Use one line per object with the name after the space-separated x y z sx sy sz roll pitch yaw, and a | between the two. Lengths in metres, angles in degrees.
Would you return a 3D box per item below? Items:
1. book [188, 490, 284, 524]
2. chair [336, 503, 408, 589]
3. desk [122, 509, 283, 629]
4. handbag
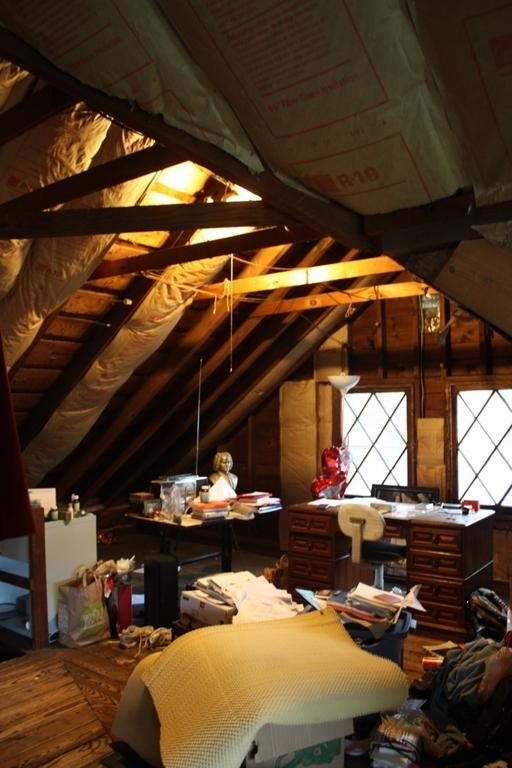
-0.164 0.958 4.782 0.785 0.162 0.480 2 -5 -33 | book
0.746 1.000 3.804 0.349 0.569 0.844 -2 -5 16 | chair
-0.385 1.369 4.565 1.070 0.958 0.690 2 -8 -31 | desk
-1.069 1.400 3.756 0.187 0.450 0.351 -20 -22 37 | handbag
